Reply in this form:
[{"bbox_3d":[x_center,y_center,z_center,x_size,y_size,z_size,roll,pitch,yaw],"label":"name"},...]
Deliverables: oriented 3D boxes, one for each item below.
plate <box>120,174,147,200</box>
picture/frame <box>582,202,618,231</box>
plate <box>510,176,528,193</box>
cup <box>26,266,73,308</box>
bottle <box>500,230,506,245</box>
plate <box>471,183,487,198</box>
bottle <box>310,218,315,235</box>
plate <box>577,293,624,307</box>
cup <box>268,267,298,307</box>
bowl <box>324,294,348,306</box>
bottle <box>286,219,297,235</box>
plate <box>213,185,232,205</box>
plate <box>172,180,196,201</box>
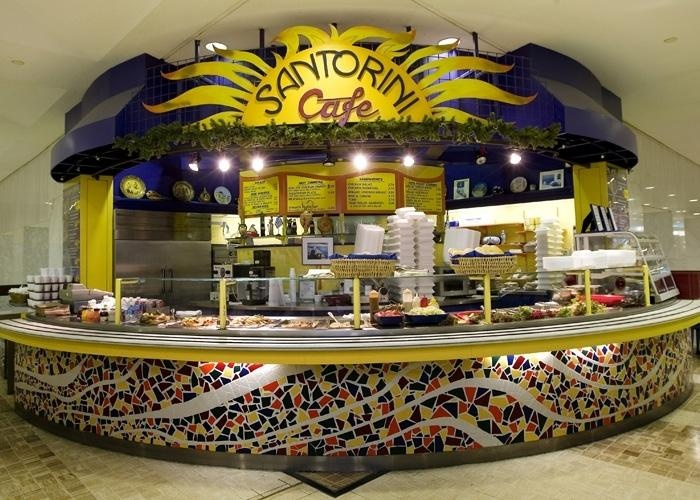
[{"bbox_3d":[-4.362,-1.259,11.423,0.391,0.510,0.384,-1,-1,5],"label":"plate"},{"bbox_3d":[3.891,-0.541,8.923,0.617,0.329,0.209,-1,-7,-42],"label":"picture/frame"},{"bbox_3d":[3.633,-1.431,12.237,0.392,0.344,0.125,-1,-1,39],"label":"plate"},{"bbox_3d":[-4.333,0.495,8.091,0.617,0.523,0.598,-1,-1,0],"label":"cup"},{"bbox_3d":[3.321,-0.299,12.256,0.118,0.285,0.307,-1,-1,15],"label":"bottle"},{"bbox_3d":[2.887,-1.338,12.661,0.128,0.327,0.315,20,2,-40],"label":"plate"},{"bbox_3d":[-0.656,-0.424,10.149,0.109,0.276,0.251,-1,-1,-4],"label":"bottle"},{"bbox_3d":[3.197,0.630,7.303,0.829,0.170,0.341,-1,0,-33],"label":"plate"},{"bbox_3d":[-0.954,0.533,8.087,0.578,0.557,0.328,0,-3,-4],"label":"cup"},{"bbox_3d":[-0.194,0.700,8.169,0.370,0.128,0.526,-1,0,-8],"label":"bowl"},{"bbox_3d":[-1.064,-0.427,10.522,0.178,0.312,0.245,-1,-1,-5],"label":"bottle"},{"bbox_3d":[-2.808,-1.245,12.633,0.415,0.391,0.127,0,-2,-40],"label":"plate"},{"bbox_3d":[-3.511,-1.259,12.030,0.131,0.414,0.438,-2,-1,40],"label":"plate"}]
